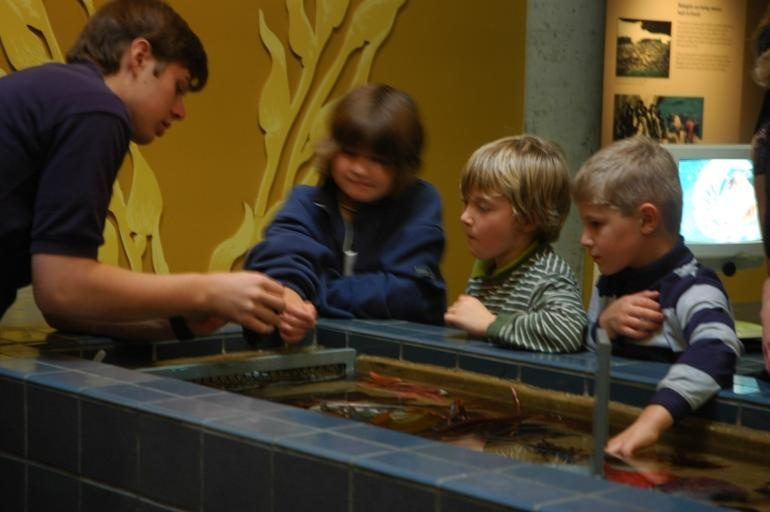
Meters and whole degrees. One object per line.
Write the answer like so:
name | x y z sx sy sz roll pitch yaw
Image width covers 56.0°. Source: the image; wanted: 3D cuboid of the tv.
tv | 1.257 -0.198 2.763 0.416 0.405 0.231 7 -15 -31
